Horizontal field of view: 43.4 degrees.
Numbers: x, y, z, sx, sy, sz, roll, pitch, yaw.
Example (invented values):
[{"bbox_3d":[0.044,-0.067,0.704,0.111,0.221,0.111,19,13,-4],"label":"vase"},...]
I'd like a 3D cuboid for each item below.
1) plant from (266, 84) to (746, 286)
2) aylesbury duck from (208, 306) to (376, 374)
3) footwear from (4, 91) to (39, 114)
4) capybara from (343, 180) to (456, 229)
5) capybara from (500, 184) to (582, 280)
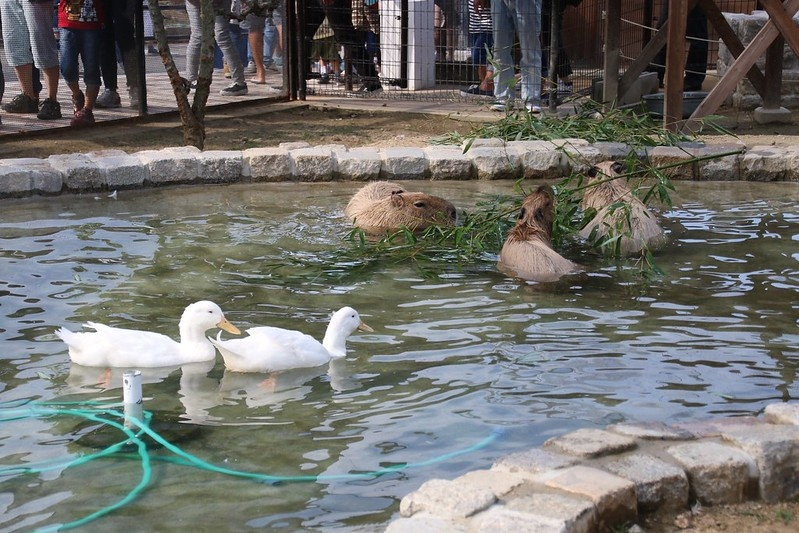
[{"bbox_3d":[1.221,-0.465,10.806,3.865,0.618,2.186,-2,12,1],"label":"plant"},{"bbox_3d":[-0.777,0.538,7.115,1.435,0.440,0.498,2,7,-41],"label":"aylesbury duck"},{"bbox_3d":[-4.433,-1.923,11.764,0.165,0.222,0.375,5,13,36],"label":"footwear"},{"bbox_3d":[-0.001,-0.575,9.616,1.162,0.447,0.748,3,12,27],"label":"capybara"},{"bbox_3d":[1.179,-0.291,8.345,0.647,0.759,0.583,-8,13,-18],"label":"capybara"}]
